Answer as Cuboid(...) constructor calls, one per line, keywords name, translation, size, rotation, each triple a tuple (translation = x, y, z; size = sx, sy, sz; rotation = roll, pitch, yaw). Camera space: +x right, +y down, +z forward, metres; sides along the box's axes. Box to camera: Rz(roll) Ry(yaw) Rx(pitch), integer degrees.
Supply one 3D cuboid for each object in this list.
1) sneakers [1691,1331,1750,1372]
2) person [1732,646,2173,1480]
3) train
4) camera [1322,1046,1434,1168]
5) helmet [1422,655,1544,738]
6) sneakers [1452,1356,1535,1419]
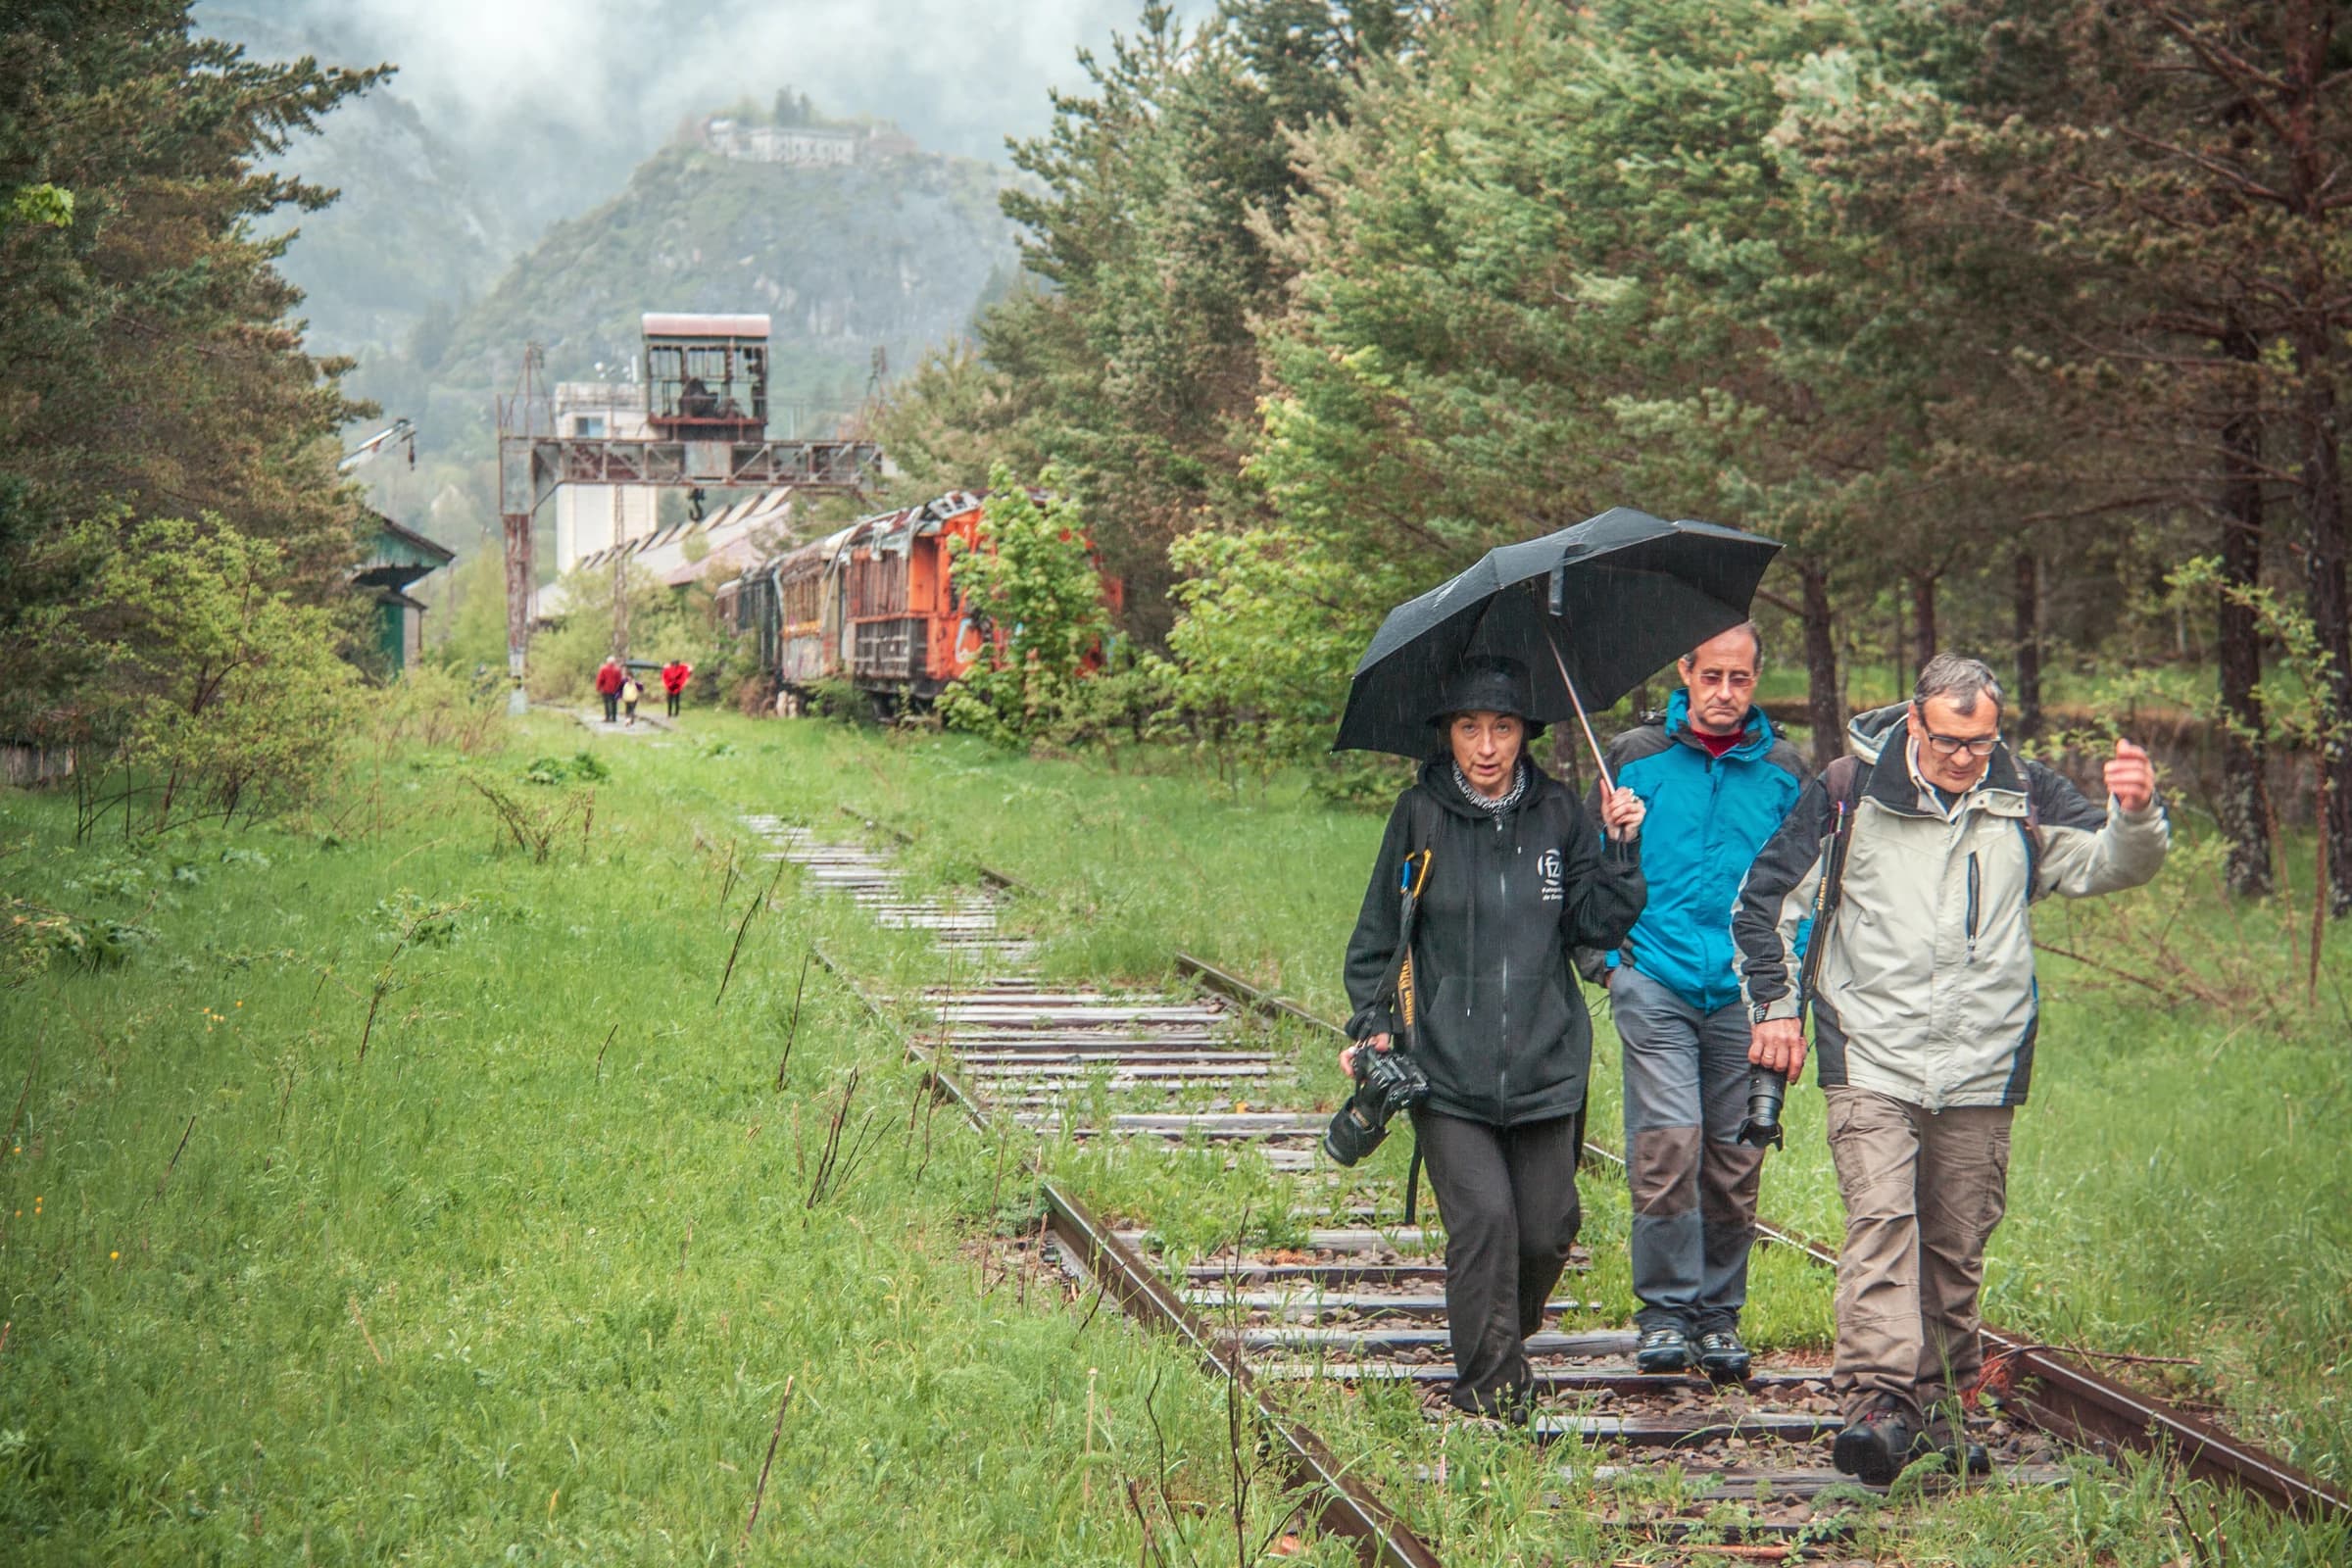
Cuboid(name="sneakers", translation=(2.455, 2.574, 9.759), size=(0.117, 0.108, 0.233), rotation=(1, -1, 5))
Cuboid(name="person", translation=(3.167, 1.109, 9.247), size=(1.385, 3.281, 0.948), rotation=(-1, 10, -19))
Cuboid(name="train", translation=(-5.596, -3.314, 40.742), size=(2.128, 2.530, 10.936), rotation=(-19, 8, -27))
Cuboid(name="camera", translation=(0.869, 1.366, 9.329), size=(0.321, 0.542, 0.238), rotation=(41, 13, 29))
Cuboid(name="helmet", translation=(1.299, -0.383, 9.311), size=(0.407, 0.375, 0.264), rotation=(5, 10, 7))
Cuboid(name="sneakers", translation=(1.356, 2.586, 9.209), size=(0.349, 0.260, 0.292), rotation=(4, 11, 5))
